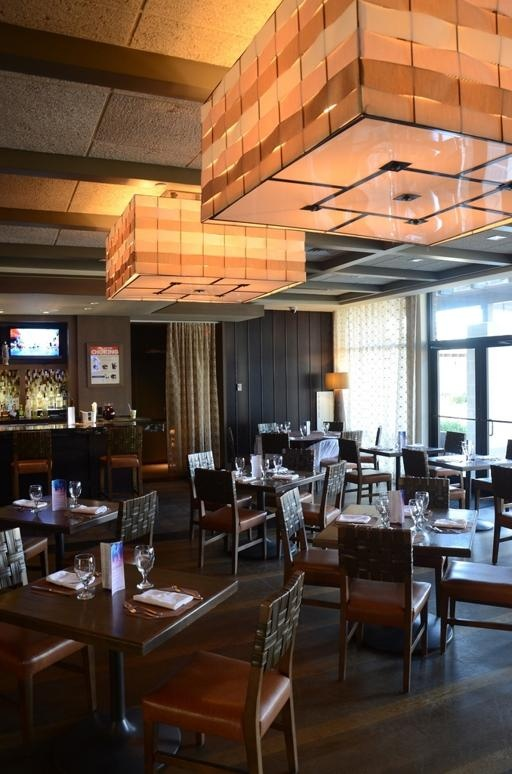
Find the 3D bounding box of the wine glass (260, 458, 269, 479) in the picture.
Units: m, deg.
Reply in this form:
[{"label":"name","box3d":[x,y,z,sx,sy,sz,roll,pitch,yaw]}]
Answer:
[{"label":"wine glass","box3d":[0.090,0.789,5.669,0.090,0.210,0.103,0,0,0]}]

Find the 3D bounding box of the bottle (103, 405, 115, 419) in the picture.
[{"label":"bottle","box3d":[-1.935,0.338,7.811,0.168,0.245,0.172,0,-3,0]}]

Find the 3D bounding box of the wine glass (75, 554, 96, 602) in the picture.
[{"label":"wine glass","box3d":[-0.726,0.789,2.478,0.076,0.174,0.251,-4,-3,-18]}]

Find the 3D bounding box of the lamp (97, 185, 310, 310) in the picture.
[{"label":"lamp","box3d":[-0.434,-0.843,4.050,0.967,0.674,0.959,1,-4,-22]}]

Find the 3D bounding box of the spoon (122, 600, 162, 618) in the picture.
[{"label":"spoon","box3d":[-0.436,0.838,2.229,0.171,0.028,0.054,-3,2,29]}]

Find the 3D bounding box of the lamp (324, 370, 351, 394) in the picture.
[{"label":"lamp","box3d":[1.544,-0.103,10.962,0.371,0.449,0.381,-2,6,-16]}]

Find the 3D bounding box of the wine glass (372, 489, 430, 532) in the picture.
[{"label":"wine glass","box3d":[0.878,0.741,3.444,0.283,0.261,0.243,-1,0,2]}]

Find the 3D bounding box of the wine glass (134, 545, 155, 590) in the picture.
[{"label":"wine glass","box3d":[-0.493,0.772,2.564,0.070,0.190,0.332,-4,-3,-13]}]
